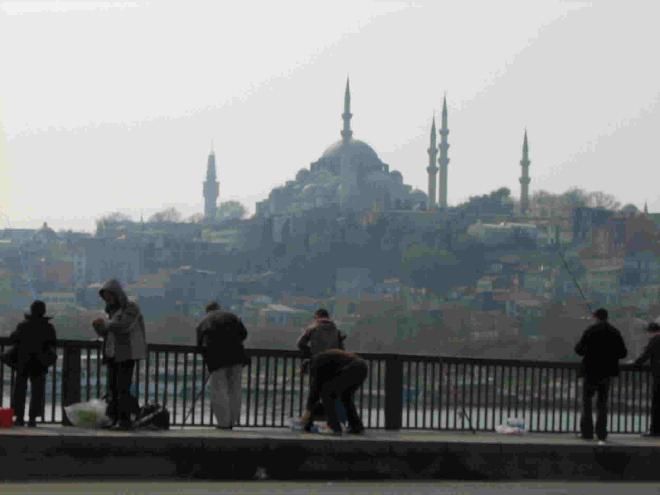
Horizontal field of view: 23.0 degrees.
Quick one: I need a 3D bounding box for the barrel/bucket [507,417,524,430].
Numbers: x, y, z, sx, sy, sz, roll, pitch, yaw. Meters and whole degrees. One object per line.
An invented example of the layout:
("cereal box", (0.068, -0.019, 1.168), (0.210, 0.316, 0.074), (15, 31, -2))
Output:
("barrel/bucket", (9.916, 9.535, 86.878), (0.712, 0.391, 0.681), (-2, 2, 0))
